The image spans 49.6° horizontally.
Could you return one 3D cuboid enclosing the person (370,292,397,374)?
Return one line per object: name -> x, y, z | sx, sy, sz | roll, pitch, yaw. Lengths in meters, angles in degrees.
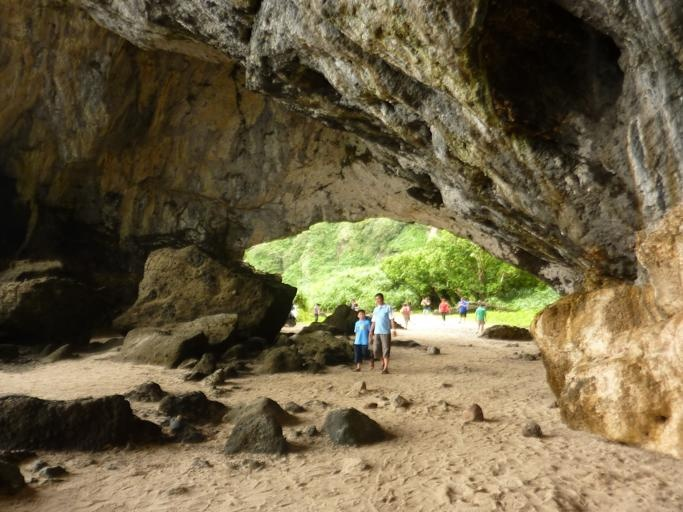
person -> 0.670, 1.294, 12.535 | 0.387, 1.427, 0.686 | 0, 9, 1
